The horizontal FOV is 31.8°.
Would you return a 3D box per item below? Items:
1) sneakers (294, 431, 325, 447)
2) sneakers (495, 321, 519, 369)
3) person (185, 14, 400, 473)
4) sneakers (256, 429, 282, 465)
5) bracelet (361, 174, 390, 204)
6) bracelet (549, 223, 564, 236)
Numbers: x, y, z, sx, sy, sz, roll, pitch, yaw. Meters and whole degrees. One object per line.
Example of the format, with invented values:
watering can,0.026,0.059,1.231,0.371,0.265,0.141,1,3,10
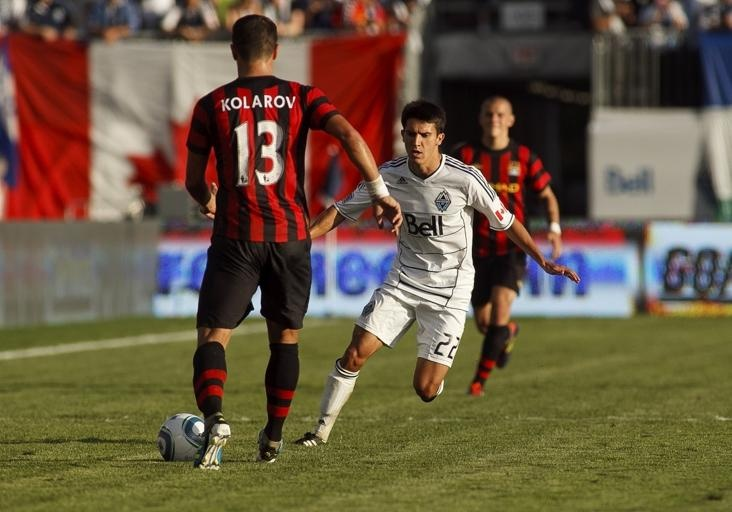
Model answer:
sneakers,-0.468,1.572,11.089,0.229,0.110,0.114,4,1,-5
sneakers,1.474,0.945,13.546,0.169,0.526,0.240,20,29,-9
person,-0.770,-0.115,10.550,1.371,3.664,0.723,-1,9,-9
sneakers,-0.798,1.605,10.692,0.123,0.365,0.156,9,-6,-10
bracelet,0.096,-0.550,10.552,0.195,0.186,0.178,48,-30,-22
bracelet,1.974,-0.278,13.305,0.128,0.133,0.126,1,4,-20
